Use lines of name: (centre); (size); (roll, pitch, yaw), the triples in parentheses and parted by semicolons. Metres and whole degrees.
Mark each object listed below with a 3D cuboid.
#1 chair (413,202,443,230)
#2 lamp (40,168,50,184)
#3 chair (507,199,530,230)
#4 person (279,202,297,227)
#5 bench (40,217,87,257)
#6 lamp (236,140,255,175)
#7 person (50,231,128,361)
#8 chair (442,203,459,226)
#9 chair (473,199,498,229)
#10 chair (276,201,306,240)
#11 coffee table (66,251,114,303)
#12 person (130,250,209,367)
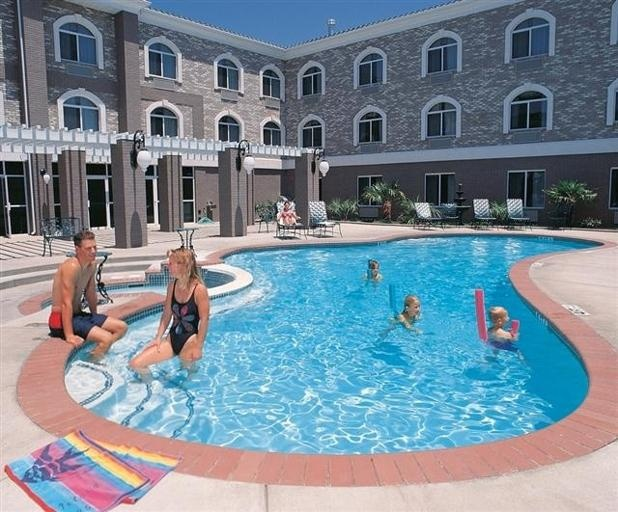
chair: (5.530, -1.908, 22.739); (1.383, 1.297, 2.059); (-2, 5, -14)
lamp: (-10.412, -3.126, 19.091); (0.346, 0.623, 0.572); (-8, 15, -31)
chair: (9.582, -1.912, 21.922); (1.026, 1.246, 2.197); (6, 13, 23)
person: (-0.846, -1.649, 19.013); (0.705, 0.798, 1.176); (-1, 12, -5)
bench: (-7.468, -0.654, 14.513); (1.080, 1.121, 0.809); (-2, 13, -23)
lamp: (-2.373, -3.685, 17.889); (0.610, 1.192, 1.173); (-2, 13, -8)
person: (-2.789, 0.462, 6.113); (0.742, 1.639, 0.894); (12, 18, 40)
chair: (7.067, -2.042, 23.837); (0.767, 1.066, 1.794); (4, 12, 15)
chair: (8.386, -2.012, 22.878); (0.980, 1.248, 1.832); (7, 14, 27)
chair: (-0.772, -1.439, 18.990); (1.177, 1.505, 1.178); (-1, 10, -5)
coffee table: (-3.843, 0.446, 8.584); (0.860, 0.819, 0.745); (-4, 9, -13)
person: (-1.604, 0.641, 5.755); (0.886, 1.514, 0.370); (3, 14, 12)
